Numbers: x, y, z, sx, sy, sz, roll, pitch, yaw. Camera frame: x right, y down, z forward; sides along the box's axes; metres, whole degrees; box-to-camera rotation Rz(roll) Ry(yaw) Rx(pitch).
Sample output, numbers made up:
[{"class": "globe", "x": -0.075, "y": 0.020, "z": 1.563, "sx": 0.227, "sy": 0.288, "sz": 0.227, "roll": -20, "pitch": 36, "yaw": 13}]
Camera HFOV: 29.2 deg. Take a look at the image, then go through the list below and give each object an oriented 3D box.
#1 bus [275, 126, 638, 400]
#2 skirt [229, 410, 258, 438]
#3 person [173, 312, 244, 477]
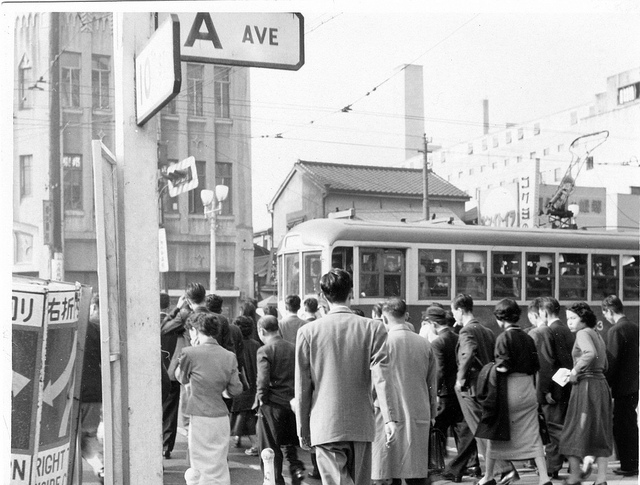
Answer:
[{"class": "bus", "x": 3.201, "y": 1.069, "z": 23.675, "sx": 9.463, "sy": 5.955, "sz": 3.434, "roll": 4, "pitch": -6, "yaw": -25}, {"class": "skirt", "x": -1.378, "y": 3.238, "z": 21.909, "sx": 0.508, "sy": 0.468, "sz": 0.310, "roll": 0, "pitch": -5, "yaw": 4}, {"class": "person", "x": -1.723, "y": 2.341, "z": 18.847, "sx": 0.951, "sy": 2.515, "sz": 0.275, "roll": 1, "pitch": -4, "yaw": -9}]
